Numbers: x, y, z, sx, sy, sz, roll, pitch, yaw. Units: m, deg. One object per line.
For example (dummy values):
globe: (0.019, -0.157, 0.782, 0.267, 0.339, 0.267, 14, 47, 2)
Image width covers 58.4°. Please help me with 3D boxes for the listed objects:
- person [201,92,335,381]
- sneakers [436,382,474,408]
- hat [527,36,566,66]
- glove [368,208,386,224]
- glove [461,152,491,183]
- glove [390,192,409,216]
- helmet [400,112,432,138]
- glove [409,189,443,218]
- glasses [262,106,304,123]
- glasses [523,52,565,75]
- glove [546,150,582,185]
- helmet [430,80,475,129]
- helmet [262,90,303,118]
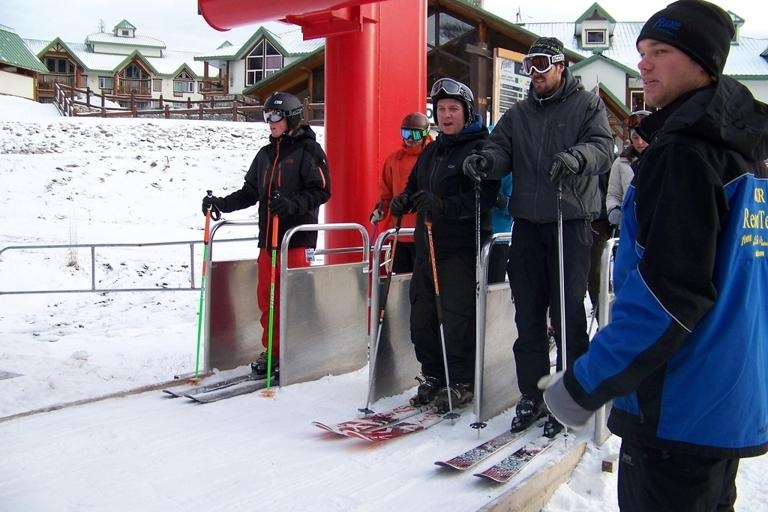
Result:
person: (-1.028, -0.222, 6.308, 0.954, 2.524, 0.784, 5, 10, 29)
sneakers: (0.563, 1.129, 5.526, 0.138, 0.187, 0.394, -5, 0, 42)
hat: (1.177, -1.485, 4.893, 0.209, 0.180, 0.222, 15, 26, 32)
glove: (-0.055, -0.324, 5.640, 0.087, 0.110, 0.142, 0, 0, -8)
glove: (0.653, -0.630, 4.859, 0.161, 0.101, 0.215, -25, 40, -6)
glove: (0.123, -0.388, 5.274, 0.151, 0.172, 0.111, -1, 10, -5)
helmet: (0.296, -1.257, 6.524, 0.196, 0.234, 0.274, 4, 17, 16)
glove: (0.321, -0.406, 5.048, 0.239, 0.165, 0.113, 0, 10, 1)
glasses: (-0.904, -1.268, 6.147, 0.220, 0.086, 0.180, -2, 5, -27)
glasses: (1.136, -1.398, 4.870, 0.191, 0.096, 0.157, -23, 30, -37)
glove: (1.249, -0.601, 4.627, 0.165, 0.111, 0.276, 41, 21, 31)
helmet: (0.531, -1.203, 5.409, 0.260, 0.317, 0.372, 2, -3, 32)
helmet: (-0.899, -1.399, 6.143, 0.280, 0.237, 0.236, -25, 32, -26)
